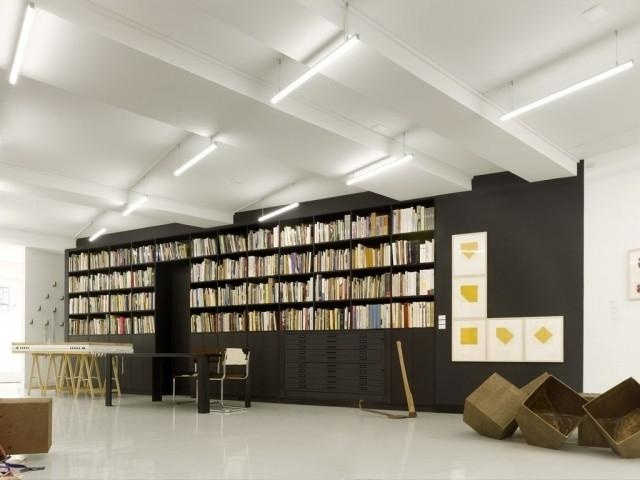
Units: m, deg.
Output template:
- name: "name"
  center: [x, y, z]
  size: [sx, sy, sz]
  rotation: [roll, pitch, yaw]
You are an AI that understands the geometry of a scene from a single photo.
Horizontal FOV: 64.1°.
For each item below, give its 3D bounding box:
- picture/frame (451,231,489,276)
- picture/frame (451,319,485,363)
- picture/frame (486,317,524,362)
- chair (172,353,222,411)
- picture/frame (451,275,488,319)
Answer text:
- name: "picture/frame"
  center: [2.359, 0.226, 7.997]
  size: [0.622, 0.841, 0.054]
  rotation: [-4, -11, 29]
- name: "picture/frame"
  center: [2.282, 1.562, 7.837]
  size: [0.638, 0.777, 0.053]
  rotation: [-2, -3, 29]
- name: "picture/frame"
  center: [2.750, 1.499, 7.576]
  size: [0.624, 0.801, 0.061]
  rotation: [-3, -9, 33]
- name: "chair"
  center: [-2.264, 2.589, 9.443]
  size: [0.813, 0.954, 3.537]
  rotation: [7, -16, -13]
- name: "picture/frame"
  center: [2.326, 0.900, 7.901]
  size: [0.599, 0.771, 0.055]
  rotation: [-4, -7, 25]
